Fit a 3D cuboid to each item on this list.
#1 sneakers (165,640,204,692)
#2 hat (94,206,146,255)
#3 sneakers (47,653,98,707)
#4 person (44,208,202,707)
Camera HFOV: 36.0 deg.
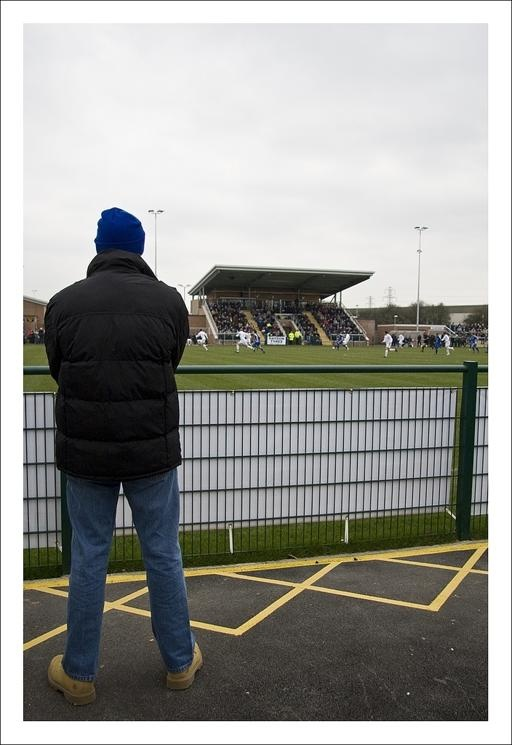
[{"bbox_3d":[-0.292,1.209,3.328,0.091,0.148,0.286,-5,10,15],"label":"sneakers"},{"bbox_3d":[-0.556,-0.561,3.188,0.187,0.229,0.205,-2,5,-9],"label":"hat"},{"bbox_3d":[-0.738,1.253,3.227,0.100,0.208,0.255,1,8,-34],"label":"sneakers"},{"bbox_3d":[-0.510,0.333,3.094,0.614,1.954,0.397,-1,5,-18],"label":"person"}]
